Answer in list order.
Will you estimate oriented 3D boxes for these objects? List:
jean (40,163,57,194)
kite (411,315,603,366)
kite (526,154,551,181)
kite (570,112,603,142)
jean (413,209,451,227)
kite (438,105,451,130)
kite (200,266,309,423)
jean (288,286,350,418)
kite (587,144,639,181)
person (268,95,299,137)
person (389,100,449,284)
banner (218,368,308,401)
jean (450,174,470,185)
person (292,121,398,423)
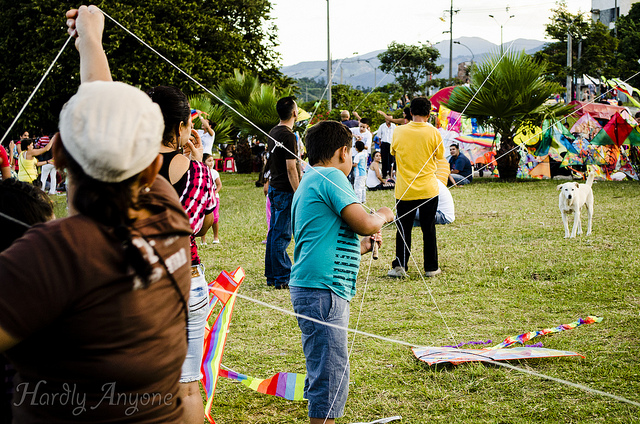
[{"bbox_3d":[-6.329,-0.752,16.532,0.323,0.758,1.311,-8,16,-21],"label":"jean"},{"bbox_3d":[1.903,1.431,7.464,1.641,0.145,0.610,-7,19,-13],"label":"kite"},{"bbox_3d":[5.978,-1.223,19.227,0.634,0.872,0.577,1,23,3],"label":"kite"},{"bbox_3d":[6.814,-2.147,18.106,0.669,0.731,0.379,39,3,43],"label":"kite"},{"bbox_3d":[1.940,0.114,12.439,0.481,0.166,0.373,1,3,-5],"label":"jean"},{"bbox_3d":[3.674,-2.832,21.135,0.417,0.670,0.153,1,3,-5],"label":"kite"},{"bbox_3d":[-0.800,1.294,7.405,1.313,1.357,1.285,4,0,-5],"label":"kite"},{"bbox_3d":[0.022,1.229,6.330,0.494,1.088,0.436,-3,15,0],"label":"jean"},{"bbox_3d":[7.313,-1.255,17.607,0.999,0.934,0.051,-11,15,45],"label":"kite"},{"bbox_3d":[-0.478,-1.277,9.256,0.370,0.480,0.718,-3,15,-2],"label":"person"},{"bbox_3d":[1.278,-0.338,9.666,0.908,2.375,0.827,-2,7,-11],"label":"person"},{"bbox_3d":[-0.518,1.678,7.082,0.937,0.278,0.156,9,-5,10],"label":"banner"},{"bbox_3d":[3.135,-0.751,16.047,0.310,0.095,0.280,30,-25,2],"label":"jean"},{"bbox_3d":[0.158,0.628,6.491,0.823,2.821,1.059,-2,15,4],"label":"person"}]
